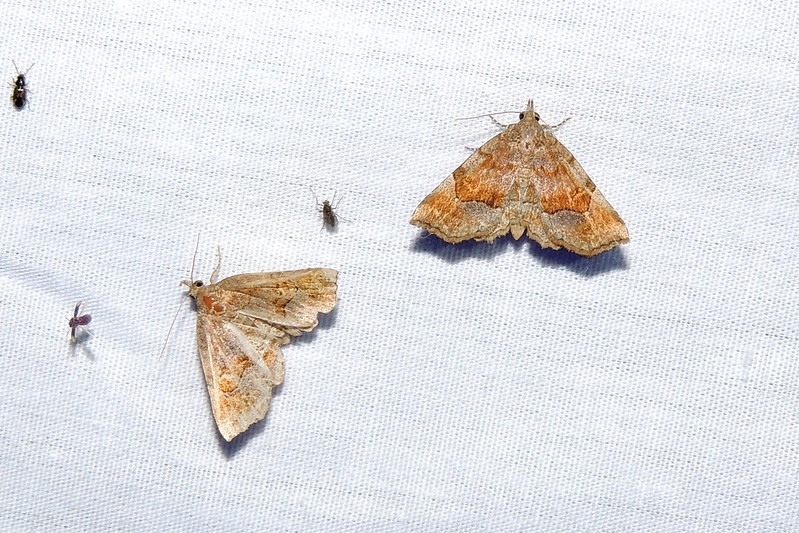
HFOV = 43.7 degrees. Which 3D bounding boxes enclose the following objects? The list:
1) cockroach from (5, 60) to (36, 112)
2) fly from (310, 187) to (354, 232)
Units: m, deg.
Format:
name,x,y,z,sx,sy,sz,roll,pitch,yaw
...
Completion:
name,x,y,z,sx,sy,sz,roll,pitch,yaw
cockroach,-2.501,-1.192,6.566,0.165,0.244,0.061,2,-3,-8
fly,-0.451,-0.351,6.549,0.255,0.261,0.074,-10,-20,-48
